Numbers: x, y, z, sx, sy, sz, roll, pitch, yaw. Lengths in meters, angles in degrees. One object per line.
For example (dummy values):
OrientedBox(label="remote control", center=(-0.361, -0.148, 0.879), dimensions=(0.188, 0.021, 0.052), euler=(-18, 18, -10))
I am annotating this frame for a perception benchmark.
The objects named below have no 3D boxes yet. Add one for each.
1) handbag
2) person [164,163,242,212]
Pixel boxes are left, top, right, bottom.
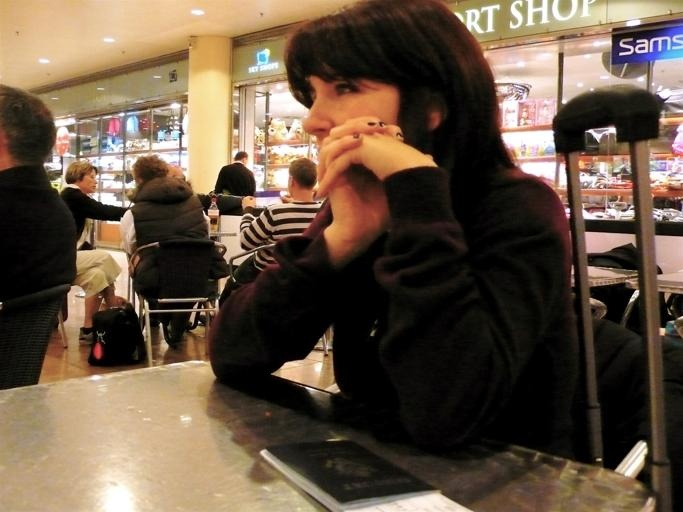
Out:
OrientedBox(label="handbag", center=(-1.591, 0.580, 3.869), dimensions=(0.493, 0.443, 0.386), euler=(6, -9, -31))
OrientedBox(label="person", center=(-1.634, -0.866, 6.673), dimensions=(1.267, 0.274, 1.141), euler=(-10, 25, -28))
